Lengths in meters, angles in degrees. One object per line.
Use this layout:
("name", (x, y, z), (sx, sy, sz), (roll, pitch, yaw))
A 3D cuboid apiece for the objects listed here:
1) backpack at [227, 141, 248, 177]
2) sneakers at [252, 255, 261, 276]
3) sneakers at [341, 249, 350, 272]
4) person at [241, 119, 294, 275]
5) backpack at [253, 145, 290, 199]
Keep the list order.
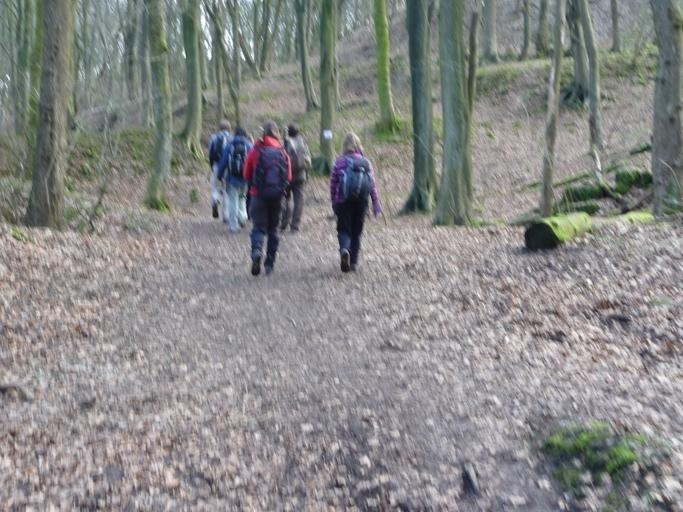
("backpack", (-2.187, -2.066, 17.244), (0.385, 0.849, 0.671), (0, 13, -8))
("sneakers", (-1.493, 0.157, 14.437), (0.097, 0.440, 0.152), (4, 10, -3))
("sneakers", (0.079, 0.056, 14.692), (0.104, 0.443, 0.180), (-1, 33, 2))
("person", (-1.322, -1.080, 14.604), (0.630, 2.720, 0.909), (3, 0, 21))
("backpack", (-1.231, -1.499, 14.336), (0.627, 0.879, 0.417), (-2, 13, -6))
